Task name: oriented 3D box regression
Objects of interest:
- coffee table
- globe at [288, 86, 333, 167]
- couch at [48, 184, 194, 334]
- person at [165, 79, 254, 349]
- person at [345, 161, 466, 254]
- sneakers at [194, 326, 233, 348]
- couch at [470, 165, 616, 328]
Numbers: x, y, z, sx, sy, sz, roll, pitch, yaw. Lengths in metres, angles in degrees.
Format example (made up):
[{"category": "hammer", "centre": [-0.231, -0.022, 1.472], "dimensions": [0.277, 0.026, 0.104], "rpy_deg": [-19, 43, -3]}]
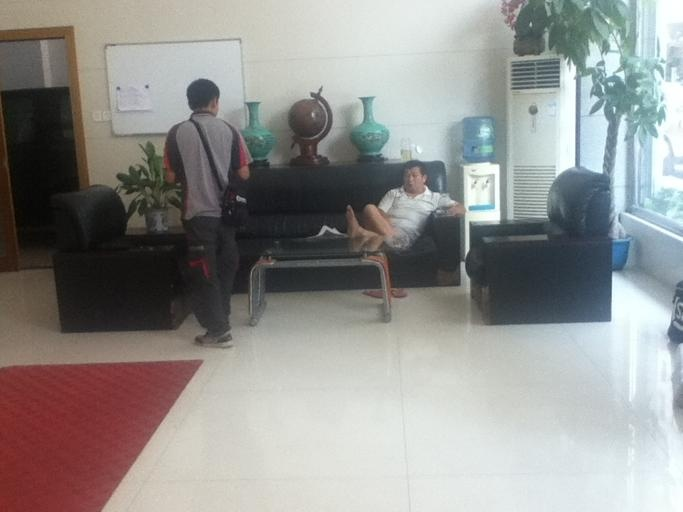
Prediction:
[{"category": "coffee table", "centre": [-0.177, 0.155, 4.431], "dimensions": [1.144, 0.555, 0.810], "rpy_deg": [-5, 16, 3]}, {"category": "globe", "centre": [-0.315, -1.232, 5.501], "dimensions": [0.429, 0.686, 0.281], "rpy_deg": [3, 17, 28]}, {"category": "couch", "centre": [-1.672, 0.163, 4.671], "dimensions": [0.921, 1.266, 1.366], "rpy_deg": [-2, 10, -9]}, {"category": "person", "centre": [-0.877, -0.289, 3.792], "dimensions": [0.390, 1.710, 0.491], "rpy_deg": [7, 19, 37]}, {"category": "person", "centre": [0.500, -0.443, 4.866], "dimensions": [0.940, 0.659, 0.800], "rpy_deg": [-8, 16, -8]}, {"category": "sneakers", "centre": [-0.849, 0.547, 3.863], "dimensions": [0.286, 0.145, 0.111], "rpy_deg": [3, 3, 8]}, {"category": "couch", "centre": [1.417, -0.081, 4.447], "dimensions": [0.966, 1.278, 1.250], "rpy_deg": [1, 7, 9]}]
